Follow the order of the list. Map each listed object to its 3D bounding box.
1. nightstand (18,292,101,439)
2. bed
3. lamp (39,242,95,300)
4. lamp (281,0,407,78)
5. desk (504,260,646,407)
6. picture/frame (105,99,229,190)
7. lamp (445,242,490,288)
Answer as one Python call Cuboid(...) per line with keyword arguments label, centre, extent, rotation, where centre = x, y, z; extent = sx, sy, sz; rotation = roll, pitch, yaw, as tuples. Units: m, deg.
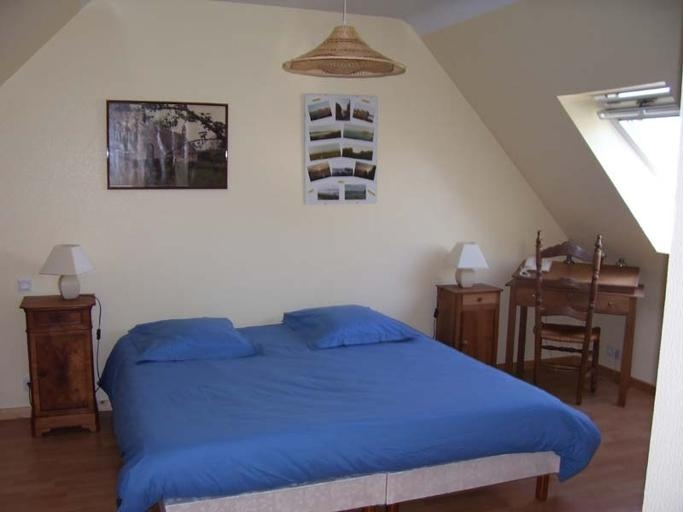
Cuboid(label="nightstand", centre=(-2.131, 0.834, 4.230), extent=(0.515, 1.003, 0.379), rotation=(-4, 15, -21))
Cuboid(label="bed", centre=(-0.114, 1.037, 3.727), extent=(2.646, 0.532, 1.817), rotation=(-5, 15, -23))
Cuboid(label="lamp", centre=(-2.097, 0.112, 4.244), extent=(0.388, 0.414, 0.377), rotation=(-8, 17, -41))
Cuboid(label="lamp", centre=(0.011, -1.181, 3.235), extent=(0.520, 0.559, 0.498), rotation=(4, 4, 37))
Cuboid(label="desk", centre=(2.175, 0.744, 5.304), extent=(1.161, 1.260, 0.777), rotation=(4, 6, 24))
Cuboid(label="picture/frame", centre=(-1.475, -0.924, 4.514), extent=(0.718, 0.559, 0.029), rotation=(-1, 8, -16))
Cuboid(label="lamp", centre=(1.152, 0.052, 5.176), extent=(0.384, 0.537, 0.399), rotation=(0, 8, -6))
